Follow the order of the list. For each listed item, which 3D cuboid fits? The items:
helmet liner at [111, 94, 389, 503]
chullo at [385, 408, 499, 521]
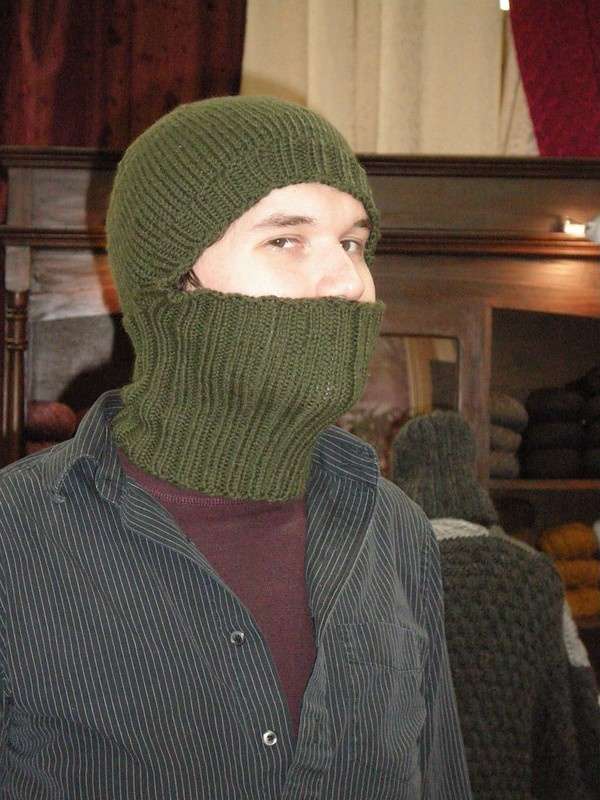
[{"bbox_3d":[-0.071,-0.130,1.102,0.404,0.505,0.355,8,9,20],"label":"helmet liner"},{"bbox_3d":[0.283,0.134,1.709,0.240,0.212,0.194,3,-1,44],"label":"chullo"}]
